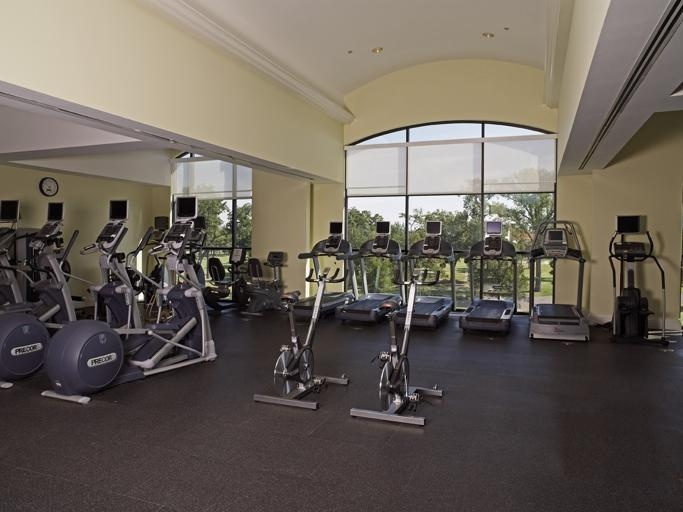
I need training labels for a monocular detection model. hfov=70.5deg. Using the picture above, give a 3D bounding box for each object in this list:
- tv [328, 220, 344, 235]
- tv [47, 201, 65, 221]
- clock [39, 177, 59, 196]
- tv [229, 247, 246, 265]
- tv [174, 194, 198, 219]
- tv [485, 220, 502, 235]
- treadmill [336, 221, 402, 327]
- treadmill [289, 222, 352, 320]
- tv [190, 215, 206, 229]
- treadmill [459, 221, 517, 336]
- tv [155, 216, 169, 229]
[{"bbox_3d":[-0.086,-0.559,9.687,0.255,0.279,0.259,0,-3,40],"label":"tv"},{"bbox_3d":[-4.645,-0.725,7.869,0.385,0.472,0.047,-5,-8,20],"label":"tv"},{"bbox_3d":[-5.938,-1.407,9.782,0.111,0.425,0.395,-2,-1,19],"label":"clock"},{"bbox_3d":[-2.187,-0.008,10.234,0.327,0.345,0.101,0,-19,28],"label":"tv"},{"bbox_3d":[-2.222,-0.687,6.922,0.413,0.319,0.247,3,9,18],"label":"tv"},{"bbox_3d":[2.806,-0.518,8.908,0.264,0.303,0.107,1,-6,26],"label":"tv"},{"bbox_3d":[0.321,0.409,9.779,0.960,2.081,2.117,1,-1,21],"label":"treadmill"},{"bbox_3d":[-0.219,0.383,9.836,0.893,1.948,2.042,0,-2,19],"label":"treadmill"},{"bbox_3d":[-2.816,-0.671,9.590,0.232,0.292,1.365,-3,9,-17],"label":"tv"},{"bbox_3d":[2.763,0.282,8.949,0.919,1.836,2.251,3,9,20],"label":"treadmill"},{"bbox_3d":[-3.975,-0.725,10.683,0.287,0.319,0.167,4,12,9],"label":"tv"}]
